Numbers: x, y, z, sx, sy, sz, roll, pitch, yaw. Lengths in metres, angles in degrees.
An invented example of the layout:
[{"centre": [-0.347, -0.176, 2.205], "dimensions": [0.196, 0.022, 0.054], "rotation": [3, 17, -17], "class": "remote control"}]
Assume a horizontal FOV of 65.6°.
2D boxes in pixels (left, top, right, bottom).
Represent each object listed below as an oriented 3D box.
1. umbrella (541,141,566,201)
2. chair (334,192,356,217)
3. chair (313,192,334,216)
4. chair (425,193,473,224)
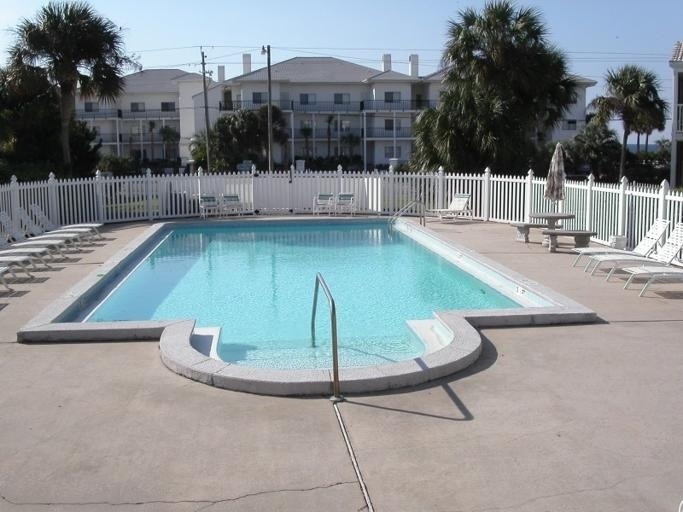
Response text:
[{"centre": [5.885, -2.288, 14.430], "dimensions": [0.483, 1.528, 0.545], "rotation": [2, 11, 12], "class": "umbrella"}, {"centre": [0.208, -2.255, 22.883], "dimensions": [0.770, 1.079, 0.905], "rotation": [1, 12, 7], "class": "chair"}, {"centre": [-0.754, -2.253, 23.053], "dimensions": [0.922, 1.172, 0.814], "rotation": [2, 9, 16], "class": "chair"}, {"centre": [4.453, -1.867, 20.579], "dimensions": [1.373, 0.984, 1.037], "rotation": [-4, 8, -27], "class": "chair"}]
